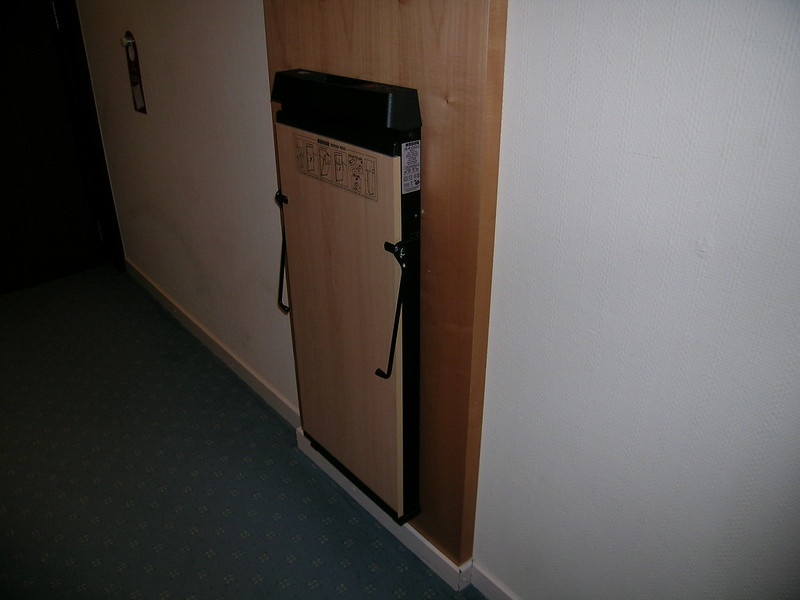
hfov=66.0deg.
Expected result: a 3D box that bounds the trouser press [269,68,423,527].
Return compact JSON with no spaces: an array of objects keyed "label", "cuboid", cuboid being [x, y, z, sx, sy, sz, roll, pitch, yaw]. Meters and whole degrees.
[{"label":"trouser press","cuboid":[-0.204,0.012,2.470,0.173,1.712,0.780,-21,34,-39]}]
